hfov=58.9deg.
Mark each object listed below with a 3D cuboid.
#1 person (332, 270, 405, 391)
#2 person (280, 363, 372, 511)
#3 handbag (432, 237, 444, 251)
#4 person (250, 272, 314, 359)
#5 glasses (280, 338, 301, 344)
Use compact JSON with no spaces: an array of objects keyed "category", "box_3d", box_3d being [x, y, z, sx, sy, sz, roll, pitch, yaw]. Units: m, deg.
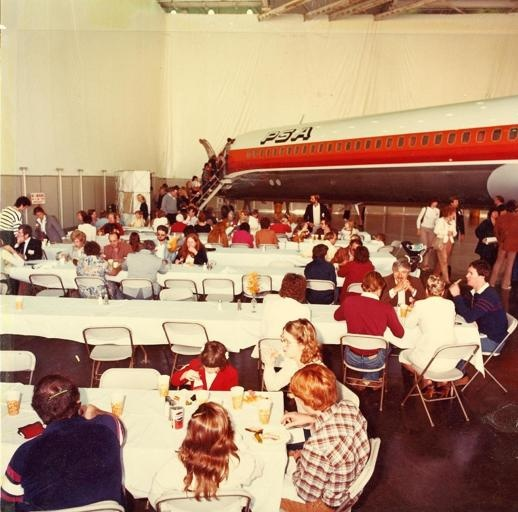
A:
[{"category":"person","box_3d":[1.017,0.745,4.327,0.672,1.155,0.610,0,16,5]},{"category":"person","box_3d":[0.333,0.901,2.212,0.393,0.709,0.294,3,13,13]},{"category":"handbag","box_3d":[3.390,-0.237,8.664,0.184,0.205,0.214,-3,-3,25]},{"category":"person","box_3d":[0.199,0.523,4.324,0.702,0.895,0.735,1,-3,8]},{"category":"glasses","box_3d":[0.220,0.566,3.084,0.075,0.020,0.070,5,0,-7]}]
